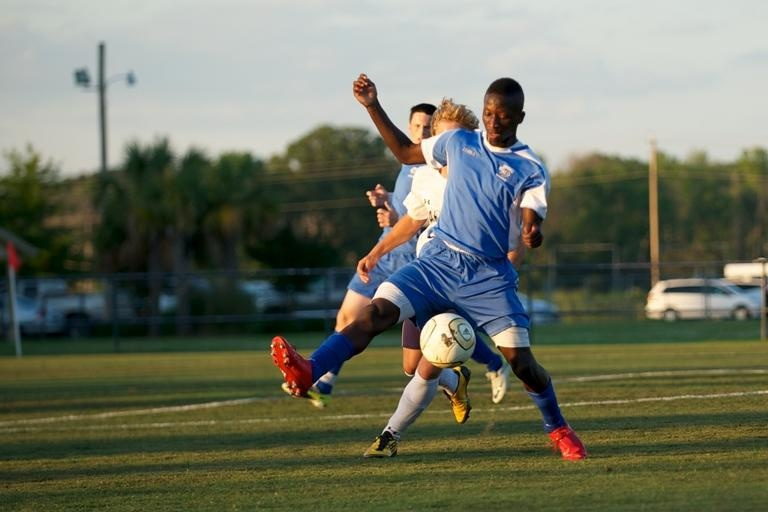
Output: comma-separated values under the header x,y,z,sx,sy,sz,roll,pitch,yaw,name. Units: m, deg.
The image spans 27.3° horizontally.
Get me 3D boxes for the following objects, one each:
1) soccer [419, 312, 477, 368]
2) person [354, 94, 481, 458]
x,y,z,sx,sy,sz,roll,pitch,yaw,name
0.440,0.558,10.940,0.368,0.365,0.351,31,39,-7,soccer
0.140,0.136,11.646,1.005,2.479,1.095,0,-2,15,person
